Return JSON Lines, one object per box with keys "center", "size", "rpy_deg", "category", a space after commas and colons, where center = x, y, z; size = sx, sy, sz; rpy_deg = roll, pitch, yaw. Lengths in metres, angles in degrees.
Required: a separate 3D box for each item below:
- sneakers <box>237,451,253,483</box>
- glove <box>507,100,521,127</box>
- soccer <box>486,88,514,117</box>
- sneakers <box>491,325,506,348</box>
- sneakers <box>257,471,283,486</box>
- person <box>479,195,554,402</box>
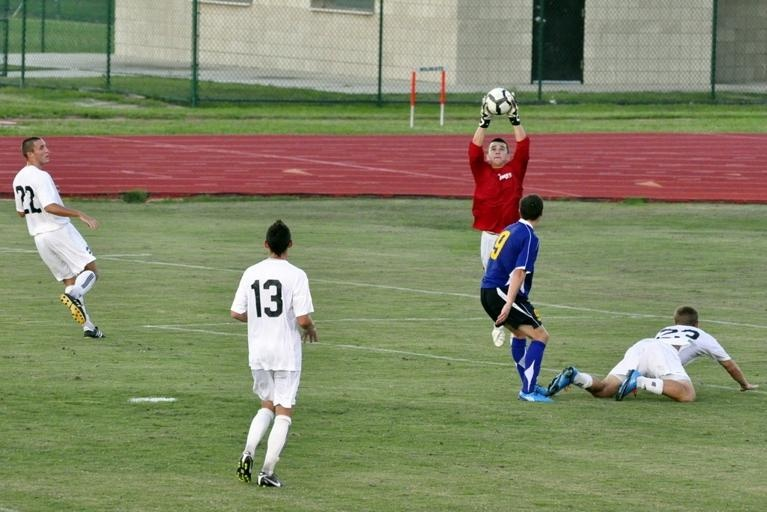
{"center": [-2.273, 3.411, 30.132], "size": [0.260, 0.471, 0.277], "rpy_deg": [4, 9, 8], "category": "sneakers"}
{"center": [2.396, -2.603, 33.602], "size": [0.348, 0.448, 0.227], "rpy_deg": [0, -1, 7], "category": "glove"}
{"center": [2.109, -2.805, 33.605], "size": [0.571, 0.468, 0.408], "rpy_deg": [2, 9, -1], "category": "soccer"}
{"center": [2.029, 1.393, 32.502], "size": [0.212, 0.389, 0.202], "rpy_deg": [-2, -6, 9], "category": "sneakers"}
{"center": [-1.871, 3.631, 30.194], "size": [0.426, 0.159, 0.187], "rpy_deg": [3, 1, -6], "category": "sneakers"}
{"center": [2.374, 0.686, 32.076], "size": [0.963, 3.481, 1.280], "rpy_deg": [-2, 11, -26], "category": "person"}
